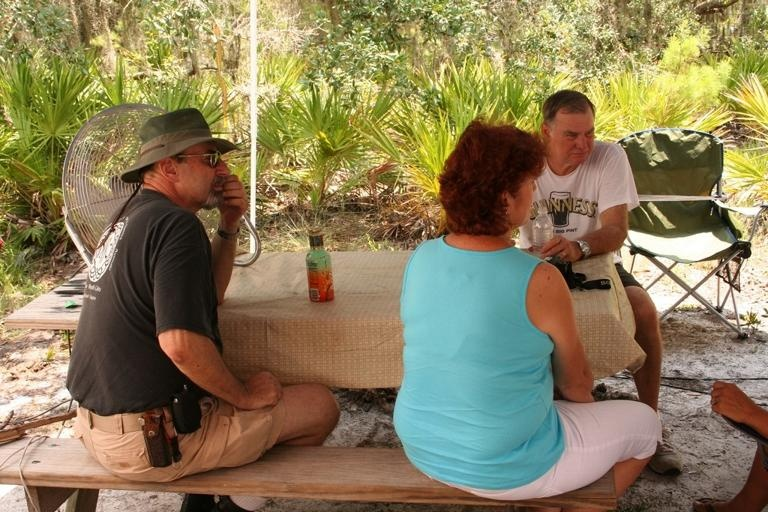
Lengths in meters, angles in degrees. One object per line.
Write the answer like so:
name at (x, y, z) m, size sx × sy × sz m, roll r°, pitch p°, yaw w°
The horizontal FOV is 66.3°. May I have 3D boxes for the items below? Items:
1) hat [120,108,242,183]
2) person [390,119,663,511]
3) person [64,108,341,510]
hat at (-0.930, -0.520, 2.731) m, size 0.419 × 0.210 × 0.389 m, roll -11°, pitch 16°, yaw 15°
person at (0.526, 0.245, 2.268) m, size 0.974 × 1.491 × 0.350 m, roll -2°, pitch 13°, yaw -7°
person at (-0.895, 0.286, 2.636) m, size 0.985 × 1.901 × 0.622 m, roll -8°, pitch 14°, yaw -29°
